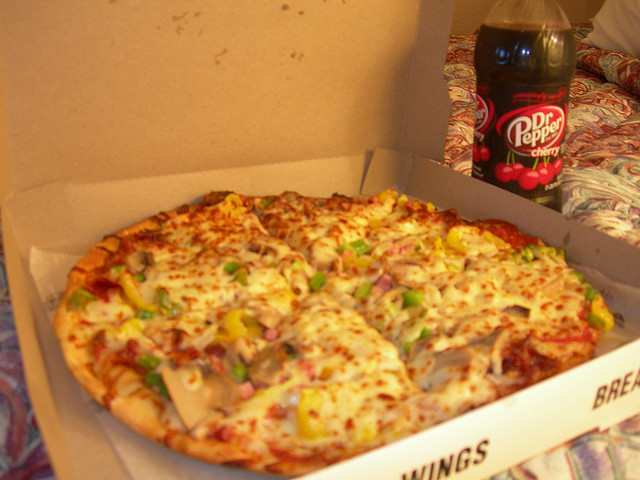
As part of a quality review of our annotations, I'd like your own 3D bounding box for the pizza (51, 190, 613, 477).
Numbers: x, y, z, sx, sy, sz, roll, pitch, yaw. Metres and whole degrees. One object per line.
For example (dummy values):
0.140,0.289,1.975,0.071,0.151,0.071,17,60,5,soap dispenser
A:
0.021,0.155,1.466,1.387,0.220,0.932,-7,29,-7,pizza
